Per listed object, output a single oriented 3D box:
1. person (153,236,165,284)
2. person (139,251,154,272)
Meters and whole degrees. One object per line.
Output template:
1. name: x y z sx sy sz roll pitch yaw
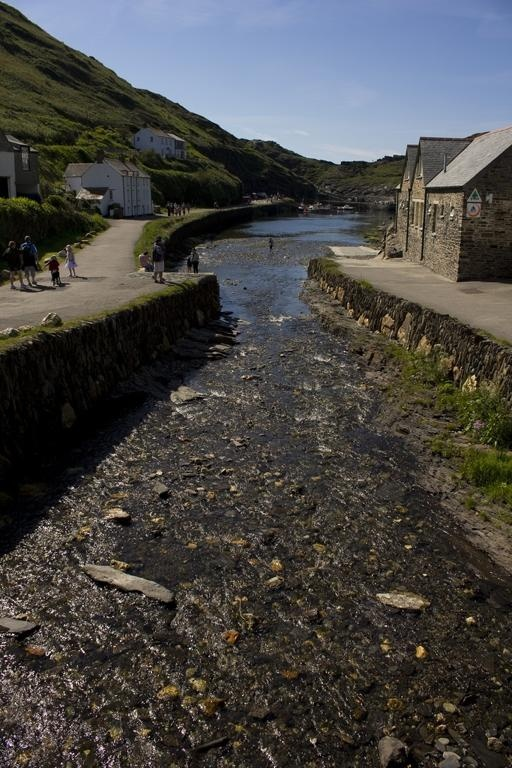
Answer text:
1. person: -4.537 -5.831 25.324 0.488 2.075 1.461 -3 16 -12
2. person: -6.164 -6.866 30.378 0.697 0.840 2.345 -2 17 -12
